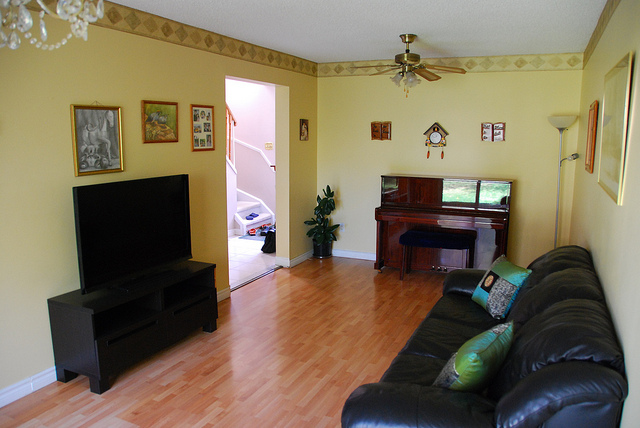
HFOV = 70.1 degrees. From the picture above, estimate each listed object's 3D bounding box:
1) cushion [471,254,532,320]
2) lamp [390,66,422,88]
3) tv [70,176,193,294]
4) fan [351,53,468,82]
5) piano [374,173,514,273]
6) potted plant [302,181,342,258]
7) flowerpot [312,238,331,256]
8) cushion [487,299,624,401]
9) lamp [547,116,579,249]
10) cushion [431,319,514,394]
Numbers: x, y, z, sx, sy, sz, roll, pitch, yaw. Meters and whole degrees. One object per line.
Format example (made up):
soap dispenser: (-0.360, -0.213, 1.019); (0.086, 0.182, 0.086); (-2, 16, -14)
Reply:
cushion: (1.567, 0.606, 4.176); (0.526, 0.508, 0.130); (23, 2, 9)
lamp: (0.957, -1.498, 5.011); (0.268, 0.255, 0.262); (1, 18, 4)
tv: (-1.771, 0.122, 4.429); (0.112, 0.929, 1.261); (8, 13, 30)
fan: (1.221, -1.911, 5.911); (0.785, 0.209, 0.876); (1, 13, 16)
piano: (1.750, 0.097, 6.212); (1.379, 1.130, 0.487); (3, 7, 25)
potted plant: (0.054, 0.103, 7.182); (0.494, 1.183, 0.549); (5, 13, 21)
flowerpot: (0.039, 0.492, 7.202); (0.290, 0.273, 0.262); (1, 12, 5)
cushion: (1.479, 0.915, 2.895); (0.732, 0.620, 0.605); (5, 12, 20)
lamp: (3.110, -0.401, 5.945); (0.389, 1.706, 0.489); (7, 14, 28)
cushion: (1.066, 0.990, 3.157); (0.328, 0.440, 0.590); (11, 20, 36)
